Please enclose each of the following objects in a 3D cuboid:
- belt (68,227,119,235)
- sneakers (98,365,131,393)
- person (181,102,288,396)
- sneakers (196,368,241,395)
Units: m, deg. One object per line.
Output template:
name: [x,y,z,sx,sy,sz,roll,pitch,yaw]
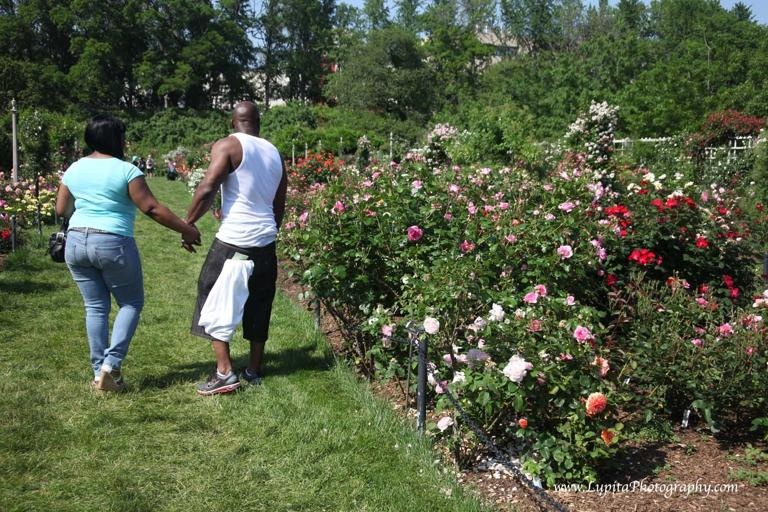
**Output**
belt: [-3.288,-0.278,8.392,0.554,0.072,0.057,5,11,-1]
sneakers: [-3.098,1.422,8.471,0.164,0.195,0.447,4,-1,15]
person: [-1.702,-0.071,8.578,1.097,3.332,0.630,1,11,-18]
sneakers: [-1.906,1.499,8.690,0.516,0.258,0.214,-2,-8,-4]
